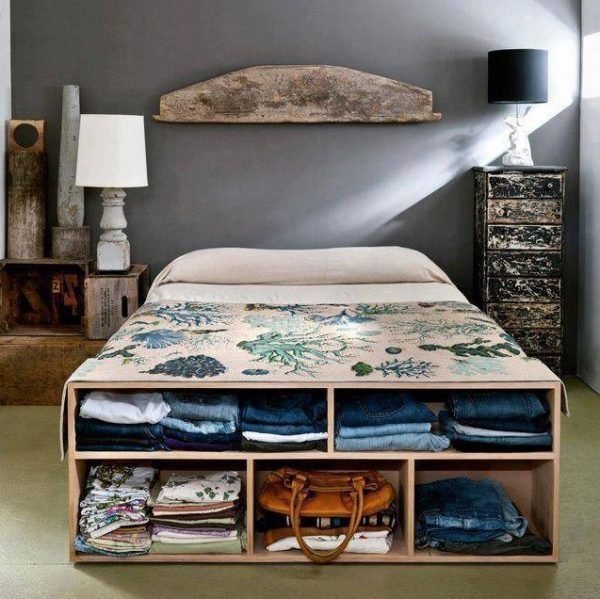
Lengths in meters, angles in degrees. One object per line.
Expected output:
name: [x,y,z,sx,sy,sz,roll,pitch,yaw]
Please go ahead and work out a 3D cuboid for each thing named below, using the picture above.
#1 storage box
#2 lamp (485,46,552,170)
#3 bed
storage box: [-0.998,0.018,3.611,0.387,0.380,0.606,1,6,-1]
lamp: [1.209,-1.075,3.570,0.328,0.646,0.320,3,12,14]
bed: [0.059,0.227,2.718,1.690,0.631,1.905,1,15,-3]
